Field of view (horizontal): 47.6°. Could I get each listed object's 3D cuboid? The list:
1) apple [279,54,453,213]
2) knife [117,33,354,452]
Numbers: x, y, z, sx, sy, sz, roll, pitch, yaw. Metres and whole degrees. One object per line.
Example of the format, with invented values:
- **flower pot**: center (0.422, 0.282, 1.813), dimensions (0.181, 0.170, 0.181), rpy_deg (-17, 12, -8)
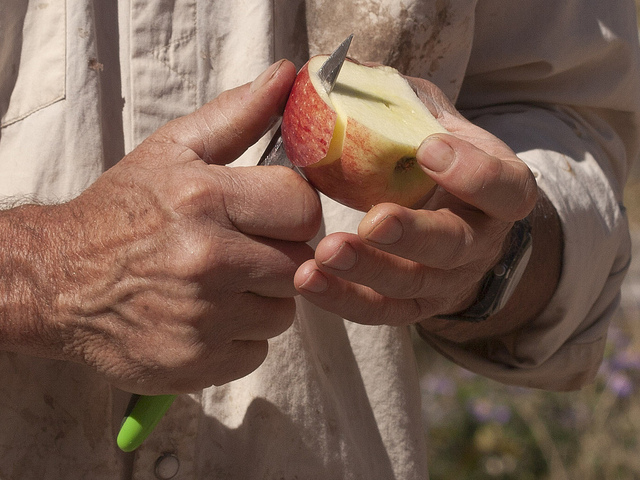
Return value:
- **apple**: center (0.088, -0.239, 1.530), dimensions (0.341, 0.211, 0.307), rpy_deg (-16, 46, -10)
- **knife**: center (-0.198, -0.004, 1.531), dimensions (0.107, 0.043, 1.083), rpy_deg (32, 101, 31)
